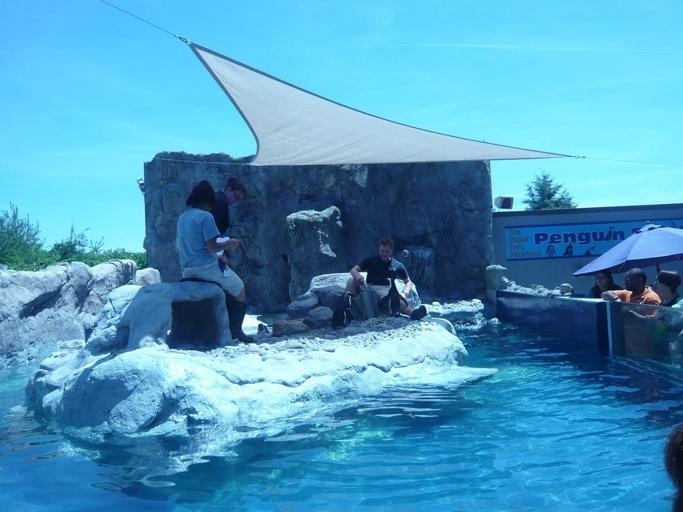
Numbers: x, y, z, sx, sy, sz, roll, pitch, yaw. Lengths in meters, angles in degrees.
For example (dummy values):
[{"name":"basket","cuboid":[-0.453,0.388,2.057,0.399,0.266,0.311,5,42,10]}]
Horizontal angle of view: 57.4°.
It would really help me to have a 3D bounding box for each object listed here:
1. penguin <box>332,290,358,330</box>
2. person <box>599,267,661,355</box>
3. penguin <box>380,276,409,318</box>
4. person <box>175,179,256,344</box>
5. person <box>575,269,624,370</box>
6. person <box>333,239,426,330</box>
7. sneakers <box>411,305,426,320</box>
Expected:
[{"name":"penguin","cuboid":[0.038,0.675,7.770,0.179,0.418,0.255,-6,9,2]},{"name":"person","cuboid":[3.319,0.671,7.220,0.384,1.172,0.501,15,-26,2]},{"name":"penguin","cuboid":[0.698,0.566,8.290,0.406,0.406,0.152,5,-3,41]},{"name":"person","cuboid":[-1.364,0.119,6.603,0.726,1.776,0.675,-2,12,-7]},{"name":"person","cuboid":[3.177,0.810,7.694,0.469,1.541,0.463,22,-29,-16]},{"name":"person","cuboid":[0.538,0.338,8.036,1.216,0.900,1.345,4,18,7]},{"name":"sneakers","cuboid":[0.999,0.724,8.122,0.207,0.251,0.305,0,12,3]}]
